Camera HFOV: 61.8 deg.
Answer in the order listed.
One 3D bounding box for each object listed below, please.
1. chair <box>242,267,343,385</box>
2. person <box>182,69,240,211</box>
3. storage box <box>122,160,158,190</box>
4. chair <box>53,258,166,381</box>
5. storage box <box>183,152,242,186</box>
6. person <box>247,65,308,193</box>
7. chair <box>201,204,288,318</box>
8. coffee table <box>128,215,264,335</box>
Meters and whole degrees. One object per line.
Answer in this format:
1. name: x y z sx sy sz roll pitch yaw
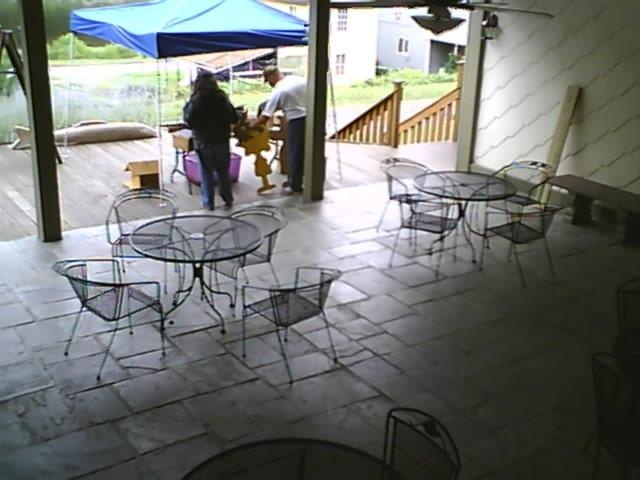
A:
1. chair: -0.246 0.810 4.768 0.714 0.711 0.628 -19 36 -40
2. person: -1.477 -1.360 7.484 0.700 1.843 0.586 -12 29 -26
3. storage box: -2.723 -0.988 8.158 0.522 0.393 0.737 -7 24 -17
4. chair: -1.909 0.752 4.768 0.708 0.771 0.727 24 30 34
5. storage box: -1.787 -1.123 8.918 0.827 0.623 1.110 4 12 -16
6. person: -0.526 -1.710 8.278 0.893 1.833 0.790 11 28 20
7. chair: -0.773 0.254 5.404 0.744 0.885 0.864 -15 37 -35
8. coffee table: -1.171 0.300 5.174 1.227 0.748 1.170 -7 -13 0
